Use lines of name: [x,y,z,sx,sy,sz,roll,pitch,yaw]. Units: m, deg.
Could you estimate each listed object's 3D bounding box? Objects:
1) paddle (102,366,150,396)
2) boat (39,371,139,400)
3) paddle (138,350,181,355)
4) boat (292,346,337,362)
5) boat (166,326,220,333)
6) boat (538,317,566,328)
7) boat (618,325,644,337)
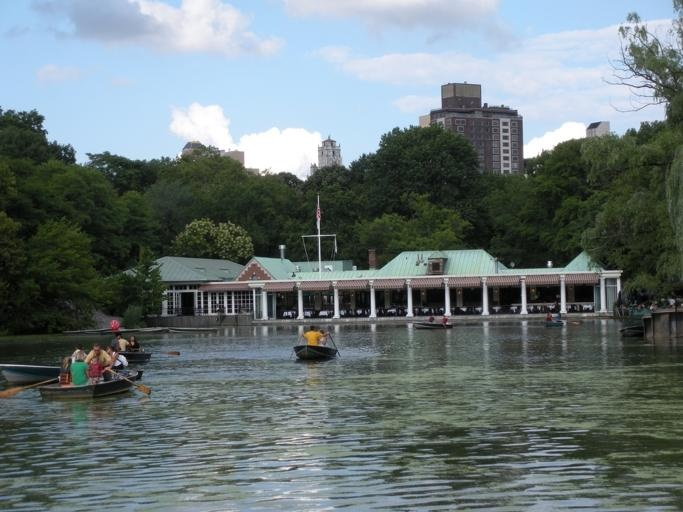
paddle: [-10.487,6.144,56.984,2.865,0.366,0.206,26,33,26]
boat: [-11.258,6.298,55.446,4.498,0.728,1.564,-3,-4,-39]
paddle: [-11.320,6.087,73.409,2.913,0.350,0.642,0,-3,5]
boat: [-1.497,5.589,67.842,2.379,0.940,1.545,-1,4,-10]
boat: [-12.728,6.322,101.184,4.069,0.430,5.385,0,4,-4]
boat: [16.721,5.371,92.064,1.327,0.441,0.921,-5,5,-5]
boat: [18.951,4.949,77.075,1.485,0.765,1.922,1,4,13]
